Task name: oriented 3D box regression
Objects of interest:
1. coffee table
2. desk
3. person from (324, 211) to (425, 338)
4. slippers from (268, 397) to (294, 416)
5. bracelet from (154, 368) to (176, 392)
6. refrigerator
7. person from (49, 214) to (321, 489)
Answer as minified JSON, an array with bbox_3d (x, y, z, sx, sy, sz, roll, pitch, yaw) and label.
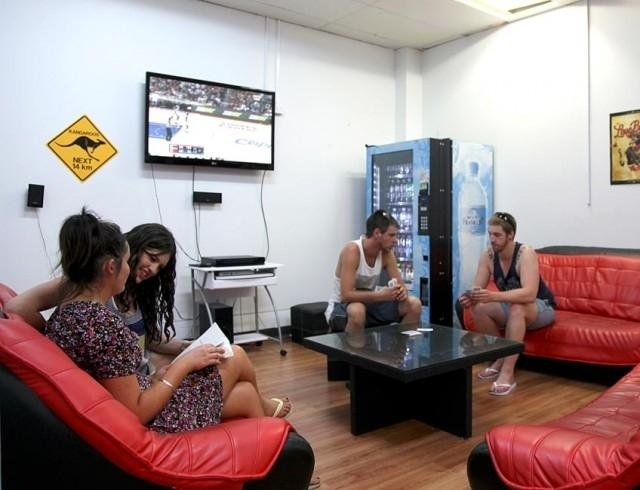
[{"bbox_3d":[0.579,0.779,2.770,0.747,0.396,0.752,0,-1,-38],"label":"coffee table"},{"bbox_3d":[-0.774,0.598,4.337,0.722,0.904,0.495,-4,5,-41],"label":"desk"},{"bbox_3d":[0.409,0.372,3.647,0.613,1.269,0.722,-1,-4,-25],"label":"person"},{"bbox_3d":[-0.200,0.863,2.482,0.066,0.053,0.177,1,-1,39],"label":"slippers"},{"bbox_3d":[-0.591,0.519,1.800,0.025,0.081,0.054,-22,29,-39],"label":"bracelet"},{"bbox_3d":[1.248,-0.124,5.268,1.101,2.161,1.040,-8,12,-23],"label":"refrigerator"},{"bbox_3d":[-0.567,0.451,2.076,0.484,0.976,1.123,-12,-11,41],"label":"person"}]
